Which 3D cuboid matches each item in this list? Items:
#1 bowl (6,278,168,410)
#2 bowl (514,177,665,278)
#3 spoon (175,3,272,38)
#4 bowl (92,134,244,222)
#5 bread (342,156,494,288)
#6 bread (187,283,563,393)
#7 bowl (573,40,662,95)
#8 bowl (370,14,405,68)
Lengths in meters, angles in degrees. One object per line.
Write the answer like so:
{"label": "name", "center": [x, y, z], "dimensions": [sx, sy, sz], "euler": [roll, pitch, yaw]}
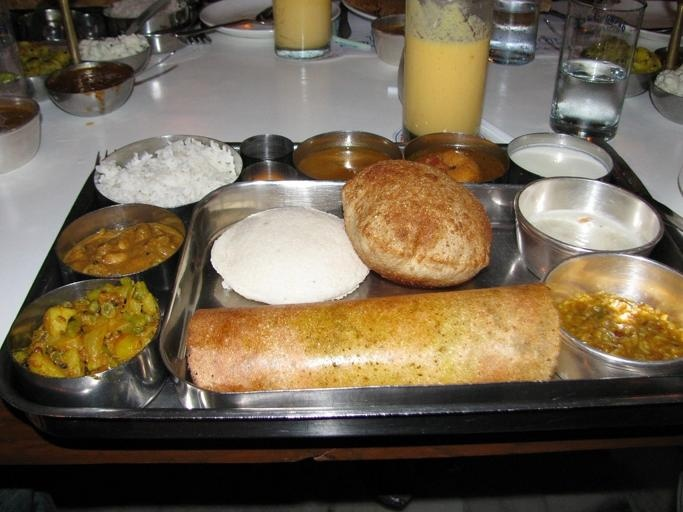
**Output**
{"label": "bowl", "center": [-0.427, 0.163, 0.948], "dimensions": [0.209, 0.118, 0.264], "euler": [-25, 44, -32]}
{"label": "bowl", "center": [0.476, -0.063, 1.148], "dimensions": [0.239, 0.107, 0.236], "euler": [-1, 40, 1]}
{"label": "spoon", "center": [-0.426, -0.839, 2.043], "dimensions": [0.450, 0.064, 0.087], "euler": [-18, 22, -19]}
{"label": "bowl", "center": [-0.390, -0.185, 1.271], "dimensions": [0.247, 0.072, 0.241], "euler": [1, 35, -1]}
{"label": "bread", "center": [0.130, -0.022, 1.109], "dimensions": [0.245, 0.133, 0.252], "euler": [14, 37, -18]}
{"label": "bread", "center": [0.053, 0.155, 1.026], "dimensions": [0.652, 0.152, 0.207], "euler": [-1, 50, -8]}
{"label": "bowl", "center": [0.789, -0.538, 1.567], "dimensions": [0.182, 0.074, 0.178], "euler": [-2, 45, 2]}
{"label": "bowl", "center": [0.150, -0.684, 1.846], "dimensions": [0.156, 0.111, 0.157], "euler": [-1, 35, 1]}
